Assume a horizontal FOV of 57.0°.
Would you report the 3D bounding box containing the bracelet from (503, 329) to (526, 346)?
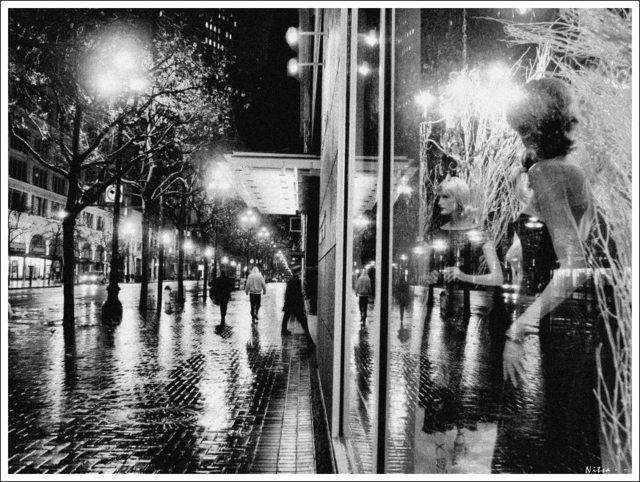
[{"bbox_3d":[0.632,0.310,1.890,0.010,0.049,0.039,-4,10,-31],"label":"bracelet"}]
